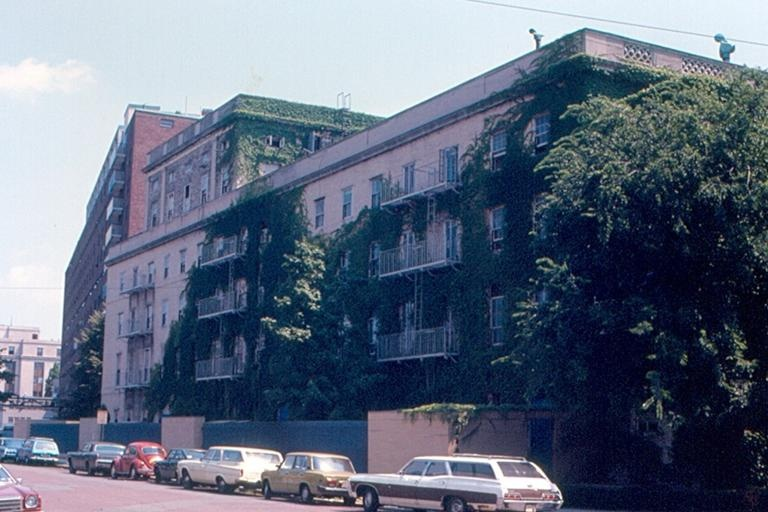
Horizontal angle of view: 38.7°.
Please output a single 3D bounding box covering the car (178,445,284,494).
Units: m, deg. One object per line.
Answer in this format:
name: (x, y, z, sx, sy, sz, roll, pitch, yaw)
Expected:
car: (-7.908, 10.727, 55.233, 5.168, 2.090, 3.045, -4, -10, 40)
